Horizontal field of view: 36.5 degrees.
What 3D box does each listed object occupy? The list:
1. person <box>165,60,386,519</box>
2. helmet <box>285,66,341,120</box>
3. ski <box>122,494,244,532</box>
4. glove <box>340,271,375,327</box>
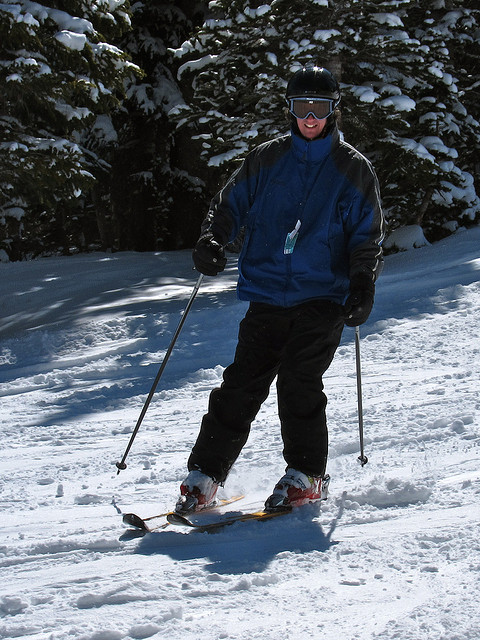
[{"bbox_3d":[0.164,-0.138,3.003,0.868,1.789,0.581,-3,7,9],"label":"person"},{"bbox_3d":[0.292,-0.922,2.938,0.230,0.168,0.231,1,26,6],"label":"helmet"},{"bbox_3d":[-0.173,0.751,3.050,0.129,0.077,0.790,12,4,37],"label":"ski"},{"bbox_3d":[0.469,-0.077,2.933,0.174,0.196,0.090,9,-19,-2],"label":"glove"}]
